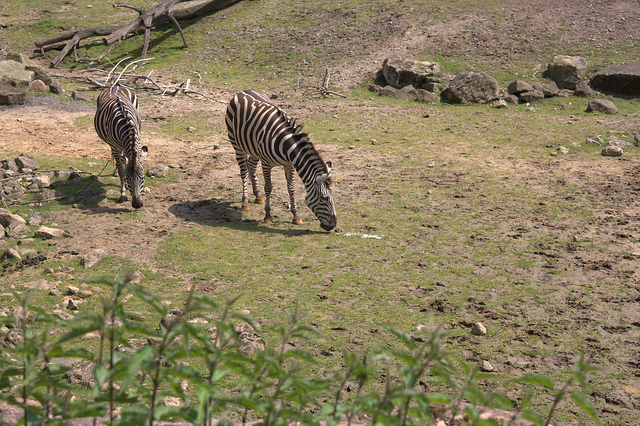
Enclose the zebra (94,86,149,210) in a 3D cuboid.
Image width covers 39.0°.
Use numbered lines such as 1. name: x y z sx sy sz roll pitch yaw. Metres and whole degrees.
1. zebra: -5.517 -1.760 24.985 1.321 2.810 3.382 -4 19 -13
